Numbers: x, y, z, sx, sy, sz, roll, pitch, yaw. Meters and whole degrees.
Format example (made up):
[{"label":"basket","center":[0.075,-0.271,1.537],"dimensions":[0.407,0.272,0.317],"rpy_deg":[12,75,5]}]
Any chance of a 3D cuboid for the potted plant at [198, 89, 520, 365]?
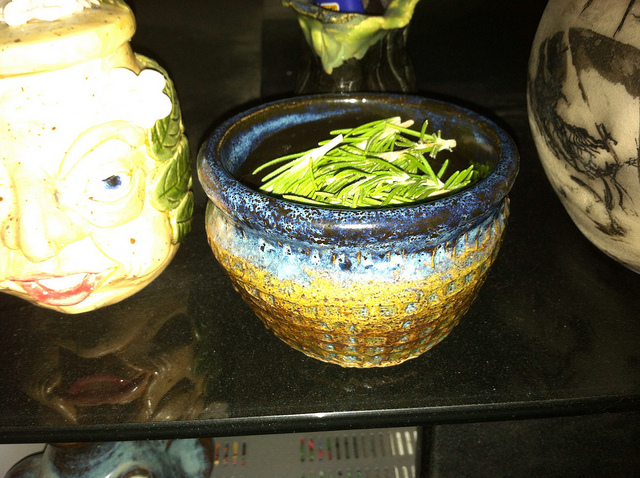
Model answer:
[{"label":"potted plant","center":[0.076,0.008,0.863],"dimensions":[0.356,0.223,0.362],"rpy_deg":[-18,39,-22]}]
